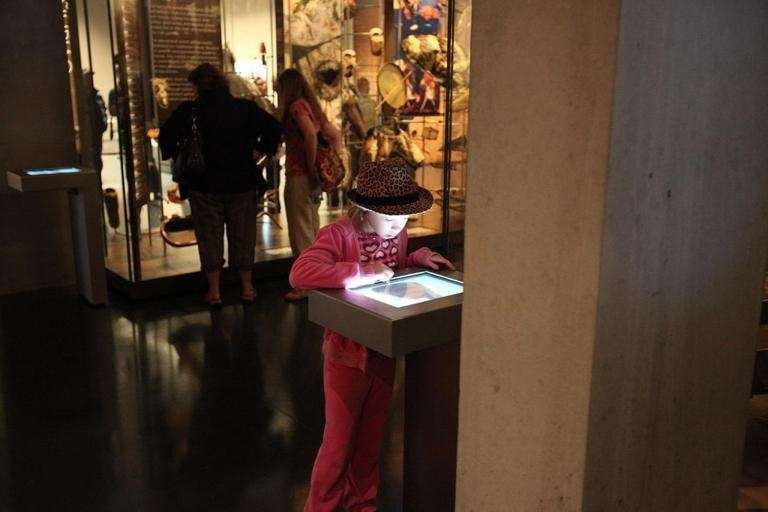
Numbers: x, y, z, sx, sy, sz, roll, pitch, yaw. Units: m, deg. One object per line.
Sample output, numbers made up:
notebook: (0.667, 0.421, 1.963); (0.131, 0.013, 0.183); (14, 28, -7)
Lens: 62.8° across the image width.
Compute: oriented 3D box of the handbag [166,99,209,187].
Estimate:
handbag: (-1.701, -0.996, 5.482); (0.234, 0.775, 0.585); (-6, 22, -27)
